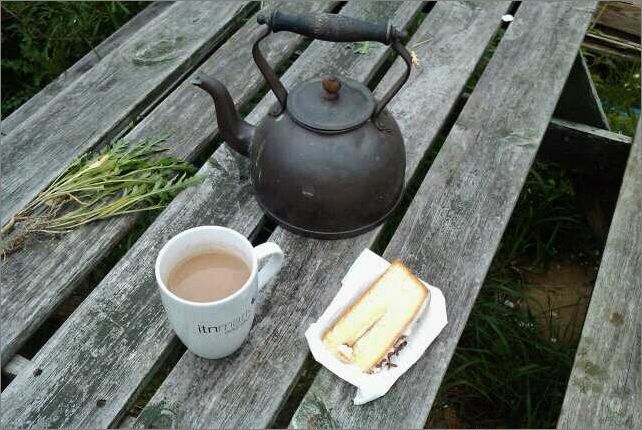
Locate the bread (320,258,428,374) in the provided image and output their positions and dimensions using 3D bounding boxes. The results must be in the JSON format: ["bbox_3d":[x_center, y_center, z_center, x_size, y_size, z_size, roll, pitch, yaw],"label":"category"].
[{"bbox_3d":[0.134,0.252,1.192,0.159,0.075,0.291,35,71,13],"label":"bread"}]

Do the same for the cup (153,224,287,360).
[{"bbox_3d":[-0.252,0.165,1.136,0.238,0.202,0.285,27,67,2],"label":"cup"}]
